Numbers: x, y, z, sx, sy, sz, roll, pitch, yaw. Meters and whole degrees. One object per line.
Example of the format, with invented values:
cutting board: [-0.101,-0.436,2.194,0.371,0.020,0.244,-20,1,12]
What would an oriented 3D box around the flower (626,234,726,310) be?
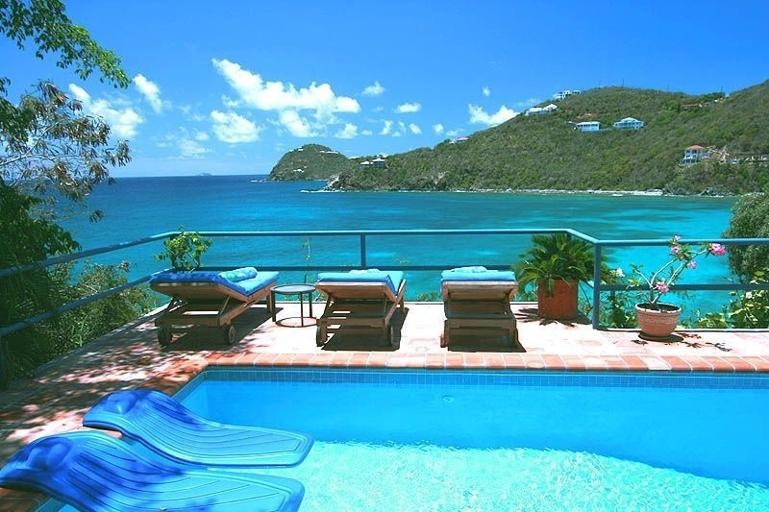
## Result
flower: [3.831,0.144,6.176,0.880,1.021,2.093,8,13,33]

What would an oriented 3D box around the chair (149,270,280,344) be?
chair: [-2.085,0.545,5.909,1.019,0.877,1.152,1,11,7]

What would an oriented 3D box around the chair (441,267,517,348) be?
chair: [1.169,0.550,5.873,0.982,0.680,1.230,1,7,11]

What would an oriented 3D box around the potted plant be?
potted plant: [2.375,0.232,6.601,1.334,0.908,1.308,-1,5,6]

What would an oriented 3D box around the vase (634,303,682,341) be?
vase: [3.243,0.739,5.559,0.595,0.331,0.522,-4,9,-1]

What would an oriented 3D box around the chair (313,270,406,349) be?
chair: [-0.247,0.574,5.858,0.969,0.835,1.066,1,11,6]
